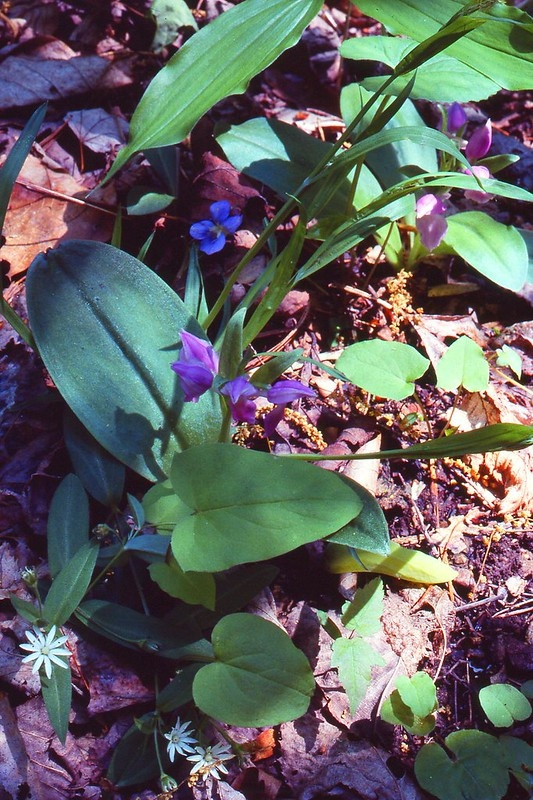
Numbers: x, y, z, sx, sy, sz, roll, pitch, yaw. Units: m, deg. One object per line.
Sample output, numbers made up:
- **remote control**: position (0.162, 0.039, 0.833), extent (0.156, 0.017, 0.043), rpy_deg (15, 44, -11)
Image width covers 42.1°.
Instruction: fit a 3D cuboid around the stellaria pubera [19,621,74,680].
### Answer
- **stellaria pubera**: position (-0.478, 0.542, 1.515), extent (0.090, 0.023, 0.094), rpy_deg (24, -6, 6)
